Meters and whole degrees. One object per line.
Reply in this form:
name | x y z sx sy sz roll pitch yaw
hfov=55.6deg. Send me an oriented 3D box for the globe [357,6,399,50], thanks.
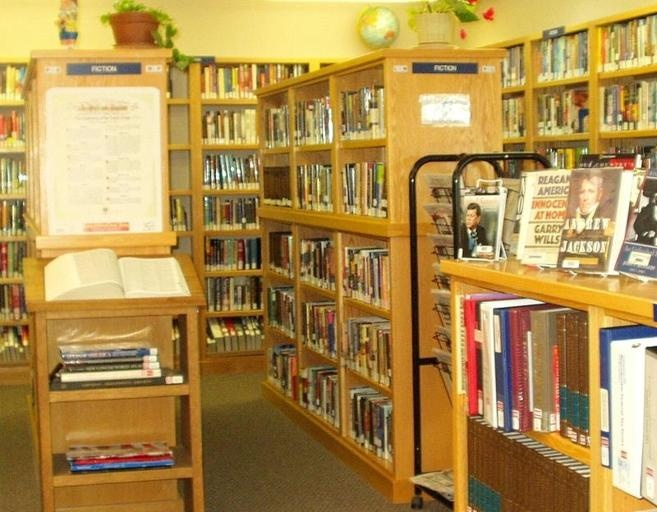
globe | 0.450 -2.209 6.284 0.447 0.523 0.449 -1 3 -3
